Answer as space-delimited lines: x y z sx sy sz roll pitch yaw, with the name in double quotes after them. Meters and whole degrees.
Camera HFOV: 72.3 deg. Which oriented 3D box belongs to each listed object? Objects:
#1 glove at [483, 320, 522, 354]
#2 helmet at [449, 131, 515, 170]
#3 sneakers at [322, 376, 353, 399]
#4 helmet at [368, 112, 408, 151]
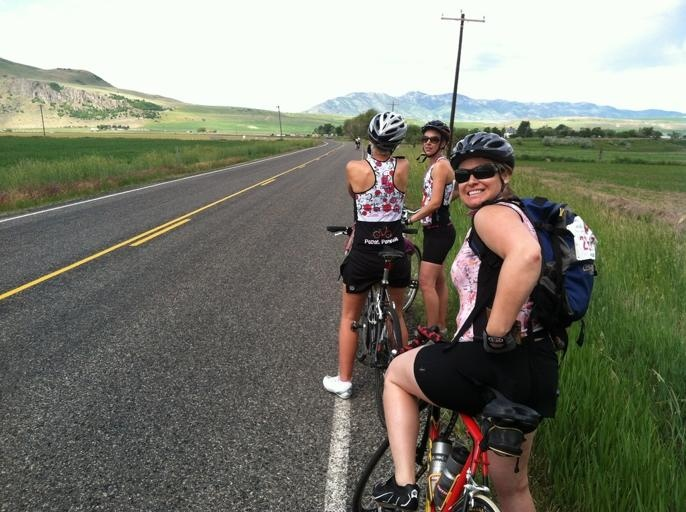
0.975 0.547 3.002 0.190 0.168 0.267 2 -2 14 "glove"
0.907 -0.708 3.104 0.374 0.178 0.256 4 1 -34 "helmet"
-0.048 1.351 4.993 0.144 0.159 0.358 -7 24 -42 "sneakers"
0.434 -1.209 4.572 0.322 0.425 0.386 15 -21 10 "helmet"
